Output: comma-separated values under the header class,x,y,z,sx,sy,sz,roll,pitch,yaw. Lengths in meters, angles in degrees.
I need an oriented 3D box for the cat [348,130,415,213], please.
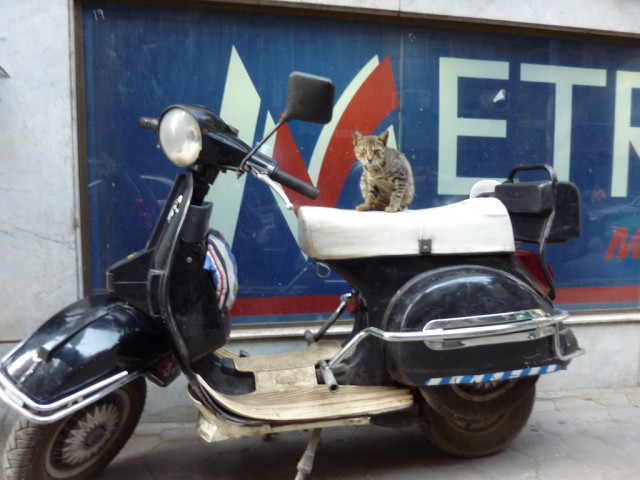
class,x,y,z,sx,sy,sz,roll,pitch,yaw
cat,0.450,-0.498,5.449,0.371,0.622,0.626,-7,-1,37
